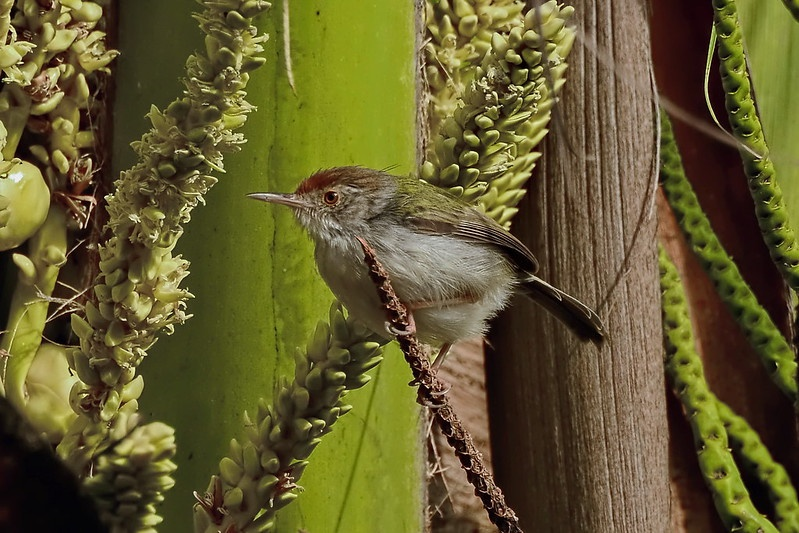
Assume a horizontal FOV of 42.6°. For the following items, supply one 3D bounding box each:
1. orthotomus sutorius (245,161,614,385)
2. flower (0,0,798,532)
[{"bbox_3d":[0.027,-0.027,2.323,0.771,0.487,0.326,-2,-4,-12],"label":"orthotomus sutorius"},{"bbox_3d":[-0.043,0.009,2.298,0.838,1.242,0.431,11,5,-13],"label":"flower"}]
